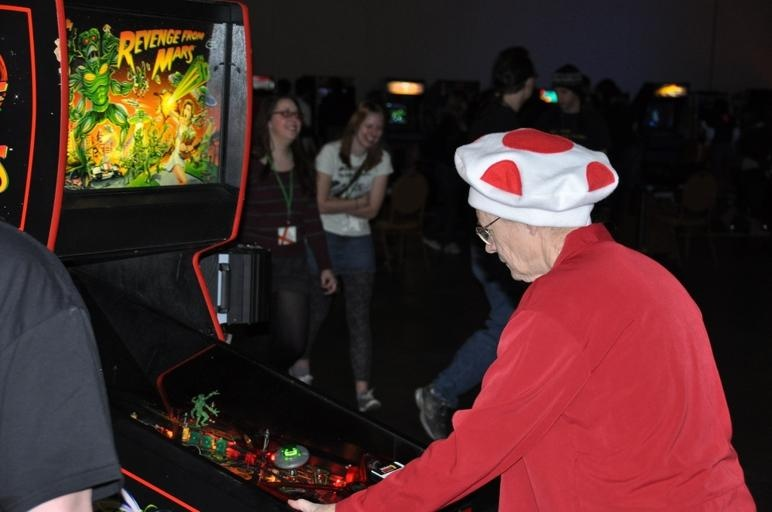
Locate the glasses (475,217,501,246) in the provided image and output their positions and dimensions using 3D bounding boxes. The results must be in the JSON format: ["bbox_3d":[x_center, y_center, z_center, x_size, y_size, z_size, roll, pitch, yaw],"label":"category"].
[{"bbox_3d":[0.235,-0.057,1.444,0.017,0.054,0.044,28,-7,14],"label":"glasses"}]

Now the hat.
[{"bbox_3d":[0.339,-0.182,1.363,0.261,0.133,0.244,9,30,18],"label":"hat"}]

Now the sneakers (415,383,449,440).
[{"bbox_3d":[0.264,0.864,3.485,0.148,0.356,0.129,-21,-8,9],"label":"sneakers"}]
